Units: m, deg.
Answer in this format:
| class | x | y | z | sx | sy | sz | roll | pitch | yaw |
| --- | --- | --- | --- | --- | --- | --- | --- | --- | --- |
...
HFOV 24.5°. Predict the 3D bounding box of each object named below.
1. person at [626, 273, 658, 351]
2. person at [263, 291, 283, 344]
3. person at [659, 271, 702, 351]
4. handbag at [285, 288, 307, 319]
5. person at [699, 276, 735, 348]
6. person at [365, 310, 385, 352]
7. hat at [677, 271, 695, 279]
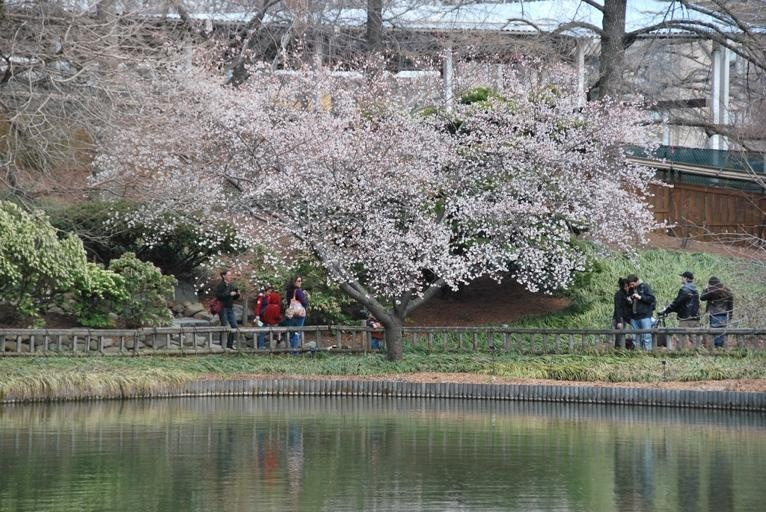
| class | x | y | z | sx | sy | sz | roll | pitch | yaw |
| --- | --- | --- | --- | --- | --- | --- | --- | --- | --- |
| person | 7.027 | 1.509 | 47.958 | 0.784 | 2.027 | 1.137 | 4 | 3 | 7 |
| person | -3.155 | 1.446 | 49.814 | 0.527 | 1.035 | 0.590 | 4 | 3 | 10 |
| person | 8.233 | 1.651 | 48.277 | 1.196 | 2.477 | 1.174 | -8 | 10 | -43 |
| handbag | -2.433 | 1.313 | 49.484 | 0.877 | 0.944 | 0.438 | 5 | -10 | -38 |
| person | 9.104 | 1.446 | 47.832 | 0.928 | 2.052 | 0.650 | -3 | 27 | 8 |
| person | -0.201 | 2.172 | 50.241 | 0.525 | 0.898 | 1.633 | 3 | 3 | 0 |
| hat | 8.205 | 0.512 | 47.407 | 0.292 | 0.223 | 0.430 | -23 | 23 | -29 |
